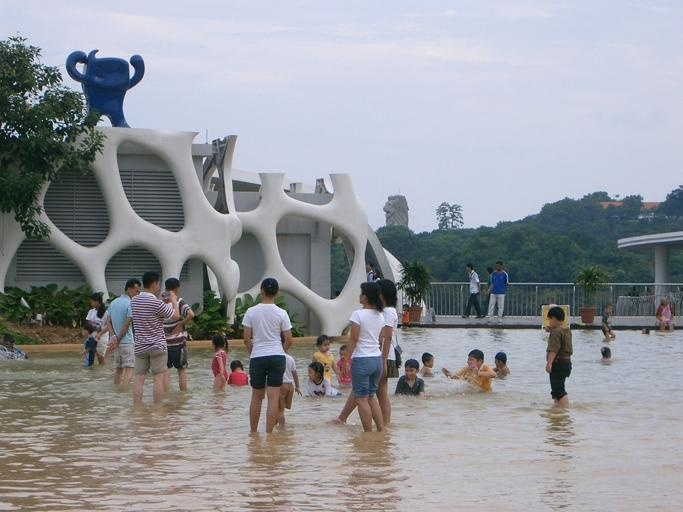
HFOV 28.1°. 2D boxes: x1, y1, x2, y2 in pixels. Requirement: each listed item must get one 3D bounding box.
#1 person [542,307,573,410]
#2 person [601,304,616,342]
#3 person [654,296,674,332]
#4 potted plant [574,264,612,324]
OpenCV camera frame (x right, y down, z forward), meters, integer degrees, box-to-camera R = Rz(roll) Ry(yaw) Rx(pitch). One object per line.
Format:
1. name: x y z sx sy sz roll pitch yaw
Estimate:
1. person: 3.962 1.789 24.623 0.423 1.750 1.103 0 -3 10
2. person: 7.327 1.831 37.217 0.264 0.979 0.350 -5 37 10
3. person: 9.351 1.656 39.155 0.493 0.909 1.033 0 -3 14
4. potted plant: 7.609 1.144 40.969 1.309 2.167 1.389 2 -2 2
